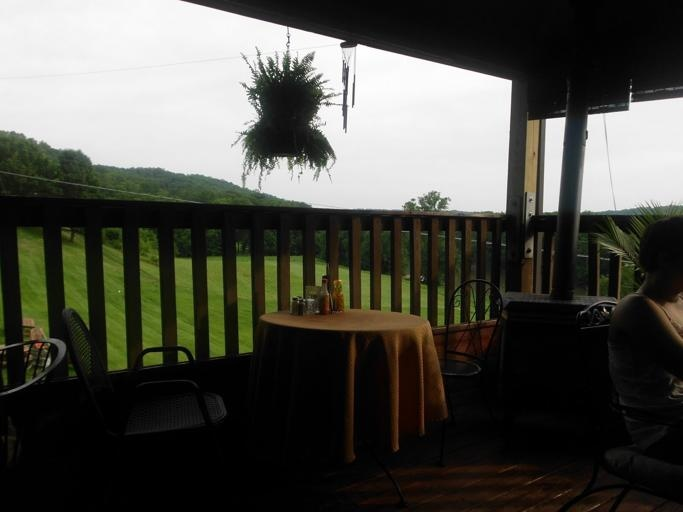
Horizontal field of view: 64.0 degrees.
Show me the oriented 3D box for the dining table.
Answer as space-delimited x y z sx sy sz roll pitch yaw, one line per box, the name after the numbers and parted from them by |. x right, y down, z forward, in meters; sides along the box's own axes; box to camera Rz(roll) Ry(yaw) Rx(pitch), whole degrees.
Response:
-0.036 0.962 4.391 1.237 1.215 1.230 -1 0 -14 | dining table

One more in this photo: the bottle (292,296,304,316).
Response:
-0.335 0.393 4.267 0.119 0.140 0.088 -1 -2 36 | bottle

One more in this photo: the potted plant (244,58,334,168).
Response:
-0.407 -1.217 4.575 0.675 0.925 0.858 -9 12 -3 | potted plant

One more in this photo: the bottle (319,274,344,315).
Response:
-0.082 0.318 4.428 0.137 0.403 0.272 -3 -3 31 | bottle

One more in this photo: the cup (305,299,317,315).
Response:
-0.237 0.400 4.326 0.101 0.117 0.097 0 3 0 | cup
